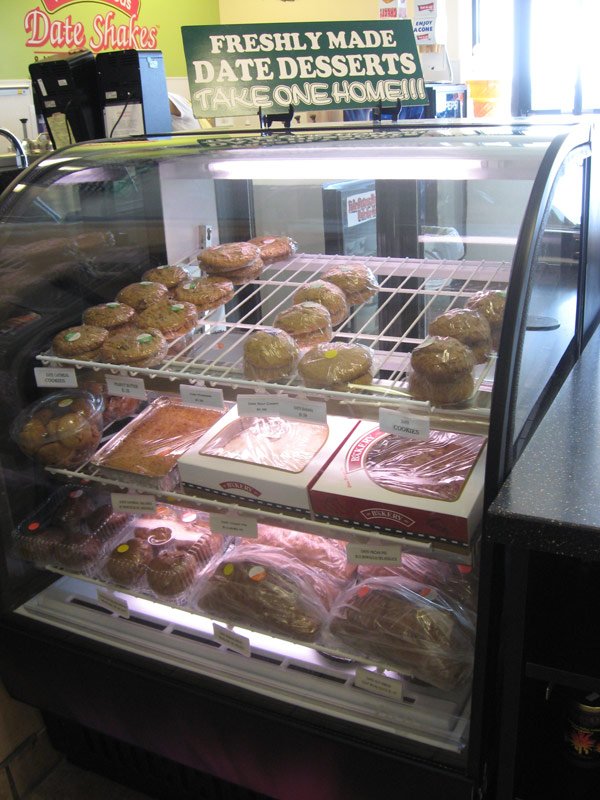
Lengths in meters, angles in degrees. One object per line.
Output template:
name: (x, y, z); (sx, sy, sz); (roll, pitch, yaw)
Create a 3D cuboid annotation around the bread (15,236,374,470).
bread: (-0.216, -0.071, 1.483); (0.663, 0.160, 0.645); (4, 47, 15)
